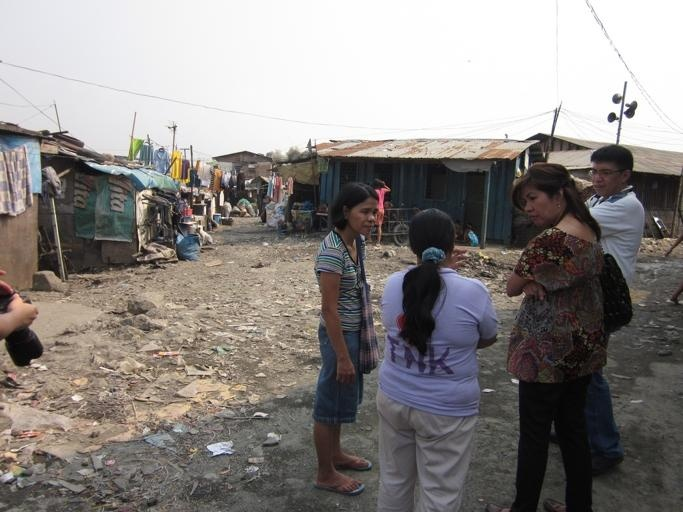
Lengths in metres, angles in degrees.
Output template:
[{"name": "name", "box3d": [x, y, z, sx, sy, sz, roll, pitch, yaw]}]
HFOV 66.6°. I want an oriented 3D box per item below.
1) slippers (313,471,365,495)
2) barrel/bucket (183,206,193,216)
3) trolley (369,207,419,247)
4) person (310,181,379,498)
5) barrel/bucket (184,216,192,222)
[{"name": "slippers", "box3d": [-0.021, 1.587, 3.618, 0.323, 0.190, 0.141, -2, 14, 4]}, {"name": "barrel/bucket", "box3d": [-4.105, -1.168, 13.852, 0.327, 0.225, 0.317, -1, 1, 0]}, {"name": "trolley", "box3d": [1.723, -0.903, 15.686, 1.776, 1.122, 1.147, -1, 7, -14]}, {"name": "person", "box3d": [0.020, 0.583, 3.587, 0.436, 2.145, 0.518, 3, 6, 31]}, {"name": "barrel/bucket", "box3d": [-3.966, -0.948, 13.382, 0.165, 0.117, 0.160, -1, 0, 0]}]
